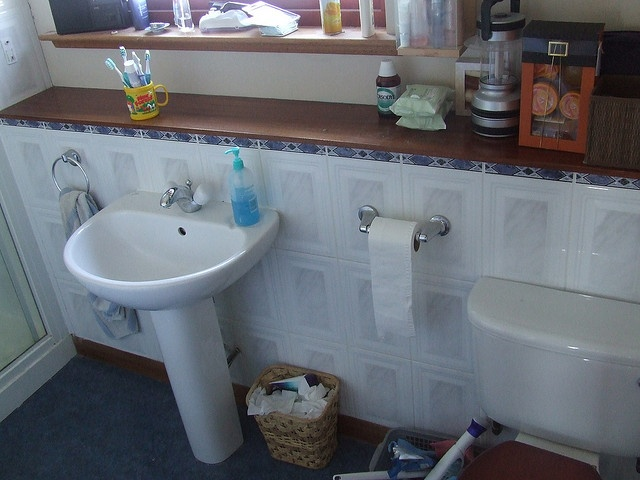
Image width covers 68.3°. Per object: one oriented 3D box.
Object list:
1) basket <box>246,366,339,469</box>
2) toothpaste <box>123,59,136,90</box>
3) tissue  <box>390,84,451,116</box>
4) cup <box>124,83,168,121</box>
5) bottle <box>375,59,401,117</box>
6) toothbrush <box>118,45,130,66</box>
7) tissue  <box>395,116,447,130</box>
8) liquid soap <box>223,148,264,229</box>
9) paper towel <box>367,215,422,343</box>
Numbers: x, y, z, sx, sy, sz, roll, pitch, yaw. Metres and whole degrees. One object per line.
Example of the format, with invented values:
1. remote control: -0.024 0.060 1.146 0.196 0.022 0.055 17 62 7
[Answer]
1. basket: -0.115 0.766 2.037 0.365 0.349 0.284 9 31 21
2. toothpaste: -0.715 -0.632 1.789 0.038 0.088 0.053 -13 30 -18
3. tissue : 0.340 -0.472 1.578 0.149 0.075 0.194 16 35 29
4. cup: -0.685 -0.541 1.835 0.135 0.127 0.083 -10 29 -12
5. bottle: 0.227 -0.515 1.631 0.075 0.190 0.075 2 33 -1
6. toothbrush: -0.804 -0.766 1.934 0.039 0.053 0.172 -39 40 8
7. tissue : 0.331 -0.382 1.539 0.156 0.043 0.023 7 30 17
8. liquid soap: -0.249 -0.172 1.701 0.121 0.280 0.124 10 30 30
9. paper towel: 0.248 0.151 1.605 0.165 0.456 0.101 4 29 13
